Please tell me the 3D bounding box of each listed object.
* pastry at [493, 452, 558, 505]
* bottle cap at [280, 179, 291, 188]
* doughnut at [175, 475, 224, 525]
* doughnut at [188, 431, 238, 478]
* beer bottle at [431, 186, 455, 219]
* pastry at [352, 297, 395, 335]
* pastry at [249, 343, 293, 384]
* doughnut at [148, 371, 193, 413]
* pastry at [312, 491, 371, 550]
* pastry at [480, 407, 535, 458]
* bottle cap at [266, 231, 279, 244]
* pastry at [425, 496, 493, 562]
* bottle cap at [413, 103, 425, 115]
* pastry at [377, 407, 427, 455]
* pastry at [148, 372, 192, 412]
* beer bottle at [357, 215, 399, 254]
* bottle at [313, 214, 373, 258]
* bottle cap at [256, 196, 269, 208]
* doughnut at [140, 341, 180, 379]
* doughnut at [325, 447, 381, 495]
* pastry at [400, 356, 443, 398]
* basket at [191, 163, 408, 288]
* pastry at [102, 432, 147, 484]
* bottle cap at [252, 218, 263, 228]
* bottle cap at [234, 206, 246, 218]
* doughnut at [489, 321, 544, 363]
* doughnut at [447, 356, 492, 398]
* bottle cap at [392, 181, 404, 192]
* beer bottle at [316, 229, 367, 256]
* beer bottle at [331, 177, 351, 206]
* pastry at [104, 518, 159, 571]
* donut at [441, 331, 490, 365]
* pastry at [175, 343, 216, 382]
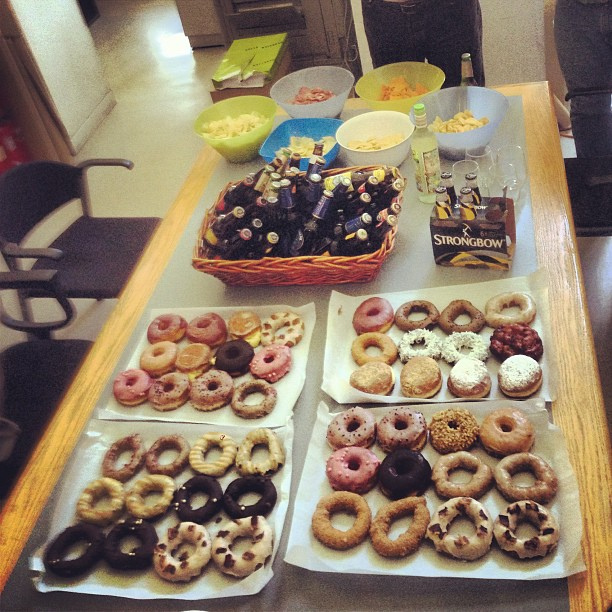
[{"bbox_3d":[0.454,0.362,1.230,0.113,0.053,0.120,-17,34,-9],"label":"pastry"},{"bbox_3d":[-0.058,-0.352,1.699,0.027,0.010,0.023,-3,51,0],"label":"bottle cap"},{"bbox_3d":[-0.241,0.441,1.345,0.108,0.038,0.118,-21,35,-15],"label":"doughnut"},{"bbox_3d":[-0.218,0.349,1.462,0.050,0.130,0.161,-10,25,-35],"label":"doughnut"},{"bbox_3d":[0.377,-0.284,1.651,0.063,0.103,0.070,-5,38,13],"label":"beer bottle"},{"bbox_3d":[0.189,0.030,1.665,0.117,0.060,0.121,-9,34,3],"label":"pastry"},{"bbox_3d":[-0.094,0.146,1.634,0.111,0.039,0.121,-32,41,-24],"label":"pastry"},{"bbox_3d":[-0.361,0.227,1.589,0.121,0.038,0.102,-5,43,5],"label":"doughnut"},{"bbox_3d":[0.076,0.449,1.244,0.118,0.034,0.123,-6,33,6],"label":"pastry"},{"bbox_3d":[0.436,0.277,1.297,0.114,0.039,0.106,-28,41,-10],"label":"pastry"},{"bbox_3d":[-0.096,-0.198,1.719,0.046,0.036,0.011,-2,-5,-3],"label":"bottle cap"},{"bbox_3d":[0.307,0.440,1.169,0.132,0.042,0.122,-28,37,-25],"label":"pastry"},{"bbox_3d":[0.333,-0.584,1.756,0.039,0.024,0.033,-8,40,8],"label":"bottle cap"},{"bbox_3d":[0.222,0.282,1.379,0.117,0.040,0.113,17,52,32],"label":"pastry"},{"bbox_3d":[-0.361,0.232,1.605,0.123,0.057,0.099,-20,35,-13],"label":"pastry"},{"bbox_3d":[0.200,-0.207,1.700,0.049,0.144,0.048,5,72,-16],"label":"beer bottle"},{"bbox_3d":[0.106,-0.197,1.711,0.179,0.057,0.058,-26,14,46],"label":"bottle"},{"bbox_3d":[-0.127,-0.311,1.742,0.034,0.015,0.038,17,41,7],"label":"bottle cap"},{"bbox_3d":[-0.418,0.146,1.687,0.112,0.034,0.096,-6,37,2],"label":"doughnut"},{"bbox_3d":[0.118,0.358,1.331,0.121,0.043,0.103,-28,42,28],"label":"doughnut"},{"bbox_3d":[0.297,0.161,1.484,0.120,0.055,0.103,-22,55,32],"label":"pastry"},{"bbox_3d":[-0.056,-0.192,1.725,0.629,0.147,0.378,-3,49,16],"label":"basket"},{"bbox_3d":[-0.443,0.378,1.468,0.105,0.035,0.104,-4,45,4],"label":"pastry"},{"bbox_3d":[-0.141,-0.240,1.726,0.028,0.006,0.024,-1,49,-8],"label":"bottle cap"},{"bbox_3d":[-0.195,-0.275,1.743,0.034,0.010,0.027,1,79,-15],"label":"bottle cap"},{"bbox_3d":[0.516,0.098,1.475,0.115,0.035,0.121,4,20,30],"label":"doughnut"},{"bbox_3d":[0.388,0.165,1.434,0.107,0.034,0.116,6,47,12],"label":"doughnut"},{"bbox_3d":[0.267,-0.351,1.727,0.035,0.006,0.028,1,73,-14],"label":"bottle cap"},{"bbox_3d":[0.107,-0.181,1.713,0.164,0.043,0.041,-10,65,29],"label":"beer bottle"},{"bbox_3d":[0.100,-0.334,1.725,0.042,0.095,0.039,-1,82,6],"label":"beer bottle"},{"bbox_3d":[-0.374,0.516,1.294,0.118,0.033,0.122,-8,33,3],"label":"pastry"},{"bbox_3d":[0.409,0.102,1.529,0.118,0.052,0.121,-1,35,14],"label":"donut"},{"bbox_3d":[-0.314,0.150,1.657,0.112,0.037,0.102,-4,40,6],"label":"pastry"}]
